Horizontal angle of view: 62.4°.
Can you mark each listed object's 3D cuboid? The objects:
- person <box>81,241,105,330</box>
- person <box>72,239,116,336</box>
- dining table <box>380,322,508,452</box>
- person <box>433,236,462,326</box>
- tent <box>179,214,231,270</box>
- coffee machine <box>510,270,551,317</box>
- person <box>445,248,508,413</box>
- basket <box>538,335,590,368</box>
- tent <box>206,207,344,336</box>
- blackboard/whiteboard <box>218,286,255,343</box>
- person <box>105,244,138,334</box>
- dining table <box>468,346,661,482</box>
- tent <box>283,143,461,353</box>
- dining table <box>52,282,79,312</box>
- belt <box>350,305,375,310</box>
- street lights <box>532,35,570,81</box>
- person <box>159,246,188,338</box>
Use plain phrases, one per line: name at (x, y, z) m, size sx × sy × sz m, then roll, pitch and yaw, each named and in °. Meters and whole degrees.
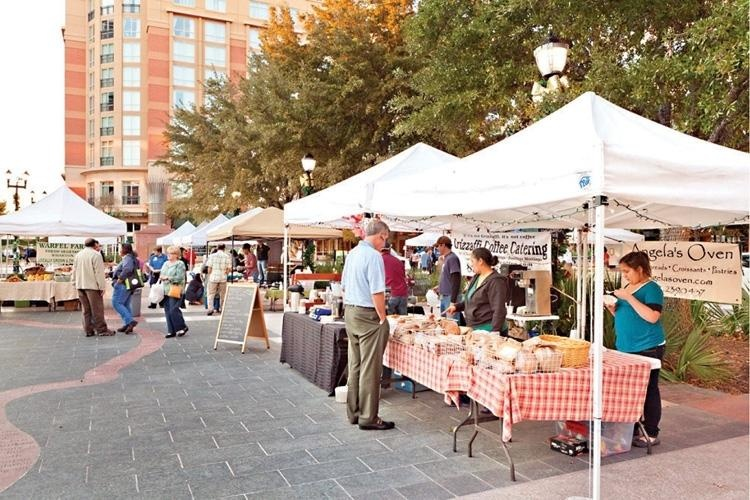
person at (-6.696, 0.912, 14.505) m, size 0.914 × 1.899 × 0.826 m, roll 0°, pitch -1°, yaw 32°
person at (-6.672, 0.875, 14.608) m, size 0.884 × 2.268 × 0.629 m, roll -2°, pitch -1°, yaw 29°
dining table at (0.814, 1.831, 8.572) m, size 1.790 × 1.371 × 2.091 m, roll 1°, pitch -1°, yaw 1°
person at (1.341, 0.507, 11.274) m, size 0.582 × 1.418 × 0.562 m, roll 6°, pitch -3°, yaw -3°
tent at (-7.308, -0.398, 26.287) m, size 2.804 × 2.203 × 3.684 m, roll -1°, pitch 2°, yaw -8°
coffee machine at (2.850, 0.781, 11.191) m, size 0.644 × 0.821 × 0.535 m, roll 1°, pitch -4°, yaw 4°
person at (1.598, 0.732, 9.109) m, size 0.527 × 1.490 × 0.499 m, roll 1°, pitch -1°, yaw -28°
basket at (2.488, 1.265, 7.916) m, size 0.397 × 0.197 × 0.539 m, roll 0°, pitch 2°, yaw -9°
tent at (-3.028, 0.464, 18.498) m, size 3.414 × 3.333 × 2.688 m, roll 2°, pitch 5°, yaw -31°
blackboard/whiteboard at (-2.880, 1.271, 12.817) m, size 0.757 × 1.154 × 0.681 m, roll 3°, pitch 11°, yaw 18°
person at (-6.090, 0.954, 15.198) m, size 0.759 × 2.164 × 0.758 m, roll 4°, pitch -4°, yaw 4°
dining table at (2.359, 1.744, 7.569) m, size 1.935 × 0.900 × 1.488 m, roll 0°, pitch 1°, yaw -18°
tent at (-0.033, 1.063, 9.074) m, size 0.779 × 2.970 × 1.030 m, roll 1°, pitch 0°, yaw -32°
dining table at (-9.227, 1.350, 18.353) m, size 0.974 × 0.684 × 0.938 m, roll 5°, pitch -8°, yaw -30°
belt at (-0.167, 0.798, 8.703) m, size 0.293 × 0.060 × 0.053 m, roll 1°, pitch 10°, yaw 4°
street lights at (2.894, -3.183, 10.268) m, size 0.631 × 0.551 × 0.640 m, roll -1°, pitch -8°, yaw 8°
person at (-4.867, 0.905, 14.717) m, size 0.821 × 2.351 × 0.757 m, roll 0°, pitch -4°, yaw 3°
